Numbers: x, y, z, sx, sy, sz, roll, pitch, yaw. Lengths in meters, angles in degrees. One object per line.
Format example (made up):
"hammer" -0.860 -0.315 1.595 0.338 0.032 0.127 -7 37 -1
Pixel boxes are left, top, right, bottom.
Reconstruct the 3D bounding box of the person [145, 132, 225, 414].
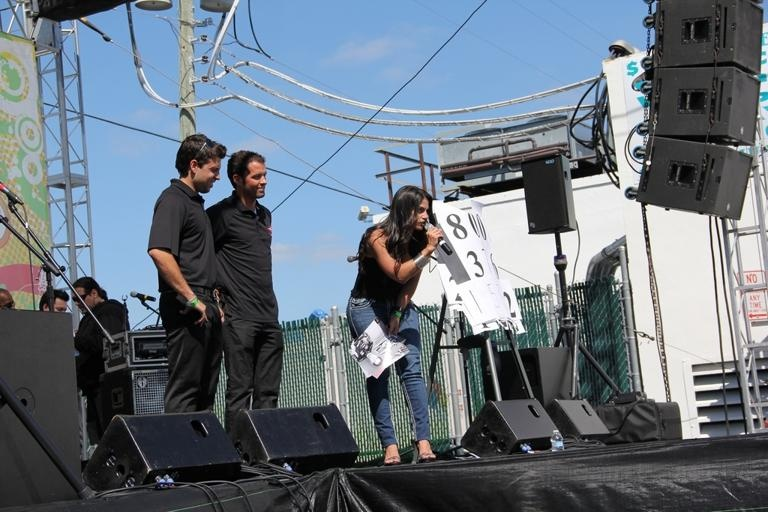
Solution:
"person" -1.670 0.146 10.513 0.643 2.295 1.054 2 12 -11

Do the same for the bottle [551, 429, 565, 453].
"bottle" 1.498 1.607 10.685 0.136 0.202 0.138 -3 -9 0

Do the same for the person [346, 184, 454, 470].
"person" 0.151 0.586 10.883 0.737 2.376 0.961 -1 13 -23

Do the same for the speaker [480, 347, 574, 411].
"speaker" 1.439 1.177 12.406 0.883 0.809 0.600 -1 1 6

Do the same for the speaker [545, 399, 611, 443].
"speaker" 1.840 1.537 11.640 0.444 0.348 0.539 -19 -21 33

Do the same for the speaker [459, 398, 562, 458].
"speaker" 1.148 1.502 10.895 0.807 0.456 0.490 -4 14 -37

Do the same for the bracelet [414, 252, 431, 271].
"bracelet" 0.354 0.046 10.774 0.117 0.132 0.110 -13 -3 30

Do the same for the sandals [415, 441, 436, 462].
"sandals" 0.374 1.700 10.794 0.182 0.198 0.274 5 11 2

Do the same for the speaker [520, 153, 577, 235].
"speaker" 1.759 -0.653 13.159 0.632 0.889 0.469 5 12 5

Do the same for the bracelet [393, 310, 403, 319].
"bracelet" 0.128 0.508 10.905 0.071 0.066 0.064 7 -35 36
